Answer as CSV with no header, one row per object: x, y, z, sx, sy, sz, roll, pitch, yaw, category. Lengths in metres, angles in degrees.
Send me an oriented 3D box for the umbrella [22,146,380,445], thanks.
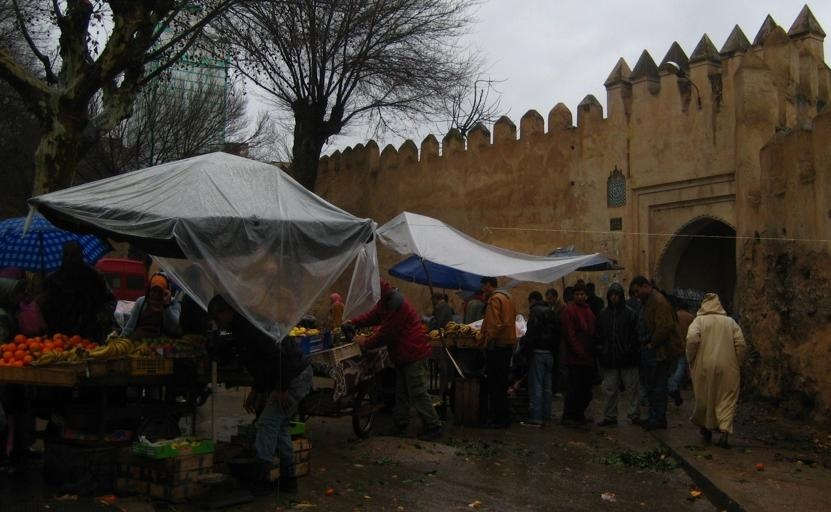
-3.035,0.332,11.817,3.320,2.301,3.448,0,-7,31,umbrella

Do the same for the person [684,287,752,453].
4.983,1.942,13.651,0.925,2.294,0.954,0,-1,7,person

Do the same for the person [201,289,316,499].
-2.176,1.916,11.509,1.596,2.601,1.006,0,-4,-4,person
